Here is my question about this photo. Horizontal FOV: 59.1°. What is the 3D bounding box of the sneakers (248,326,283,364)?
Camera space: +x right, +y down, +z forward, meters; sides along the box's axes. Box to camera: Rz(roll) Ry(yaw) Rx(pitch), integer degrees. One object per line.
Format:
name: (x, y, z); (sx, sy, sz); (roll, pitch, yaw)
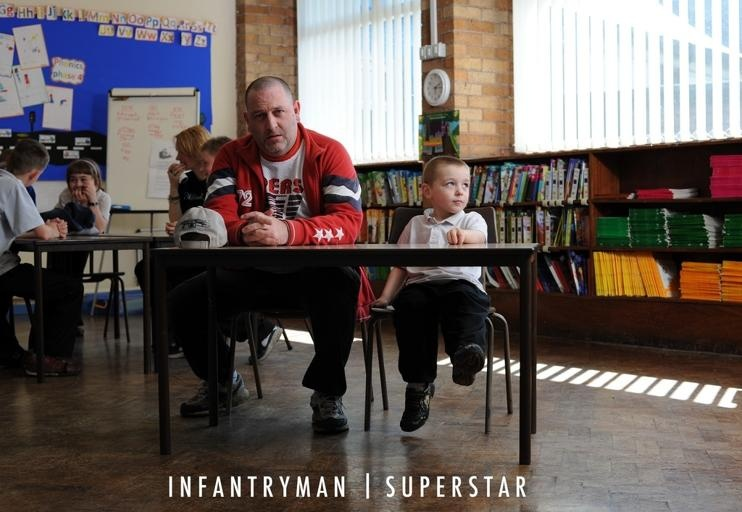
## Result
sneakers: (-0.718, 0.593, 4.485); (0.165, 0.286, 0.070); (22, -1, 33)

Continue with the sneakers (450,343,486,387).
sneakers: (0.411, 0.453, 2.809); (0.111, 0.194, 0.086); (33, 35, 4)

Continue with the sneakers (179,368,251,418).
sneakers: (-0.770, 0.717, 3.472); (0.429, 0.201, 0.153); (-3, 5, -31)

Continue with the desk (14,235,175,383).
desk: (-1.948, 0.118, 4.499); (1.024, 1.137, 1.177); (0, 1, -31)

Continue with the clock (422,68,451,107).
clock: (0.591, -1.526, 5.942); (0.095, 0.314, 0.289); (-3, 5, -34)

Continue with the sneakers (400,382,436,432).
sneakers: (0.207, 0.690, 3.027); (0.097, 0.122, 0.290); (-1, 7, 21)

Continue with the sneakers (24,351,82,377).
sneakers: (-2.013, 0.689, 4.262); (0.412, 0.190, 0.138); (2, 4, -8)

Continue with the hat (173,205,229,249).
hat: (-0.712, -0.122, 2.786); (0.229, 0.170, 0.234); (-2, 4, -19)

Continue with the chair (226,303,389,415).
chair: (-0.248, 0.445, 3.453); (0.766, 0.585, 0.646); (-2, -3, 23)
